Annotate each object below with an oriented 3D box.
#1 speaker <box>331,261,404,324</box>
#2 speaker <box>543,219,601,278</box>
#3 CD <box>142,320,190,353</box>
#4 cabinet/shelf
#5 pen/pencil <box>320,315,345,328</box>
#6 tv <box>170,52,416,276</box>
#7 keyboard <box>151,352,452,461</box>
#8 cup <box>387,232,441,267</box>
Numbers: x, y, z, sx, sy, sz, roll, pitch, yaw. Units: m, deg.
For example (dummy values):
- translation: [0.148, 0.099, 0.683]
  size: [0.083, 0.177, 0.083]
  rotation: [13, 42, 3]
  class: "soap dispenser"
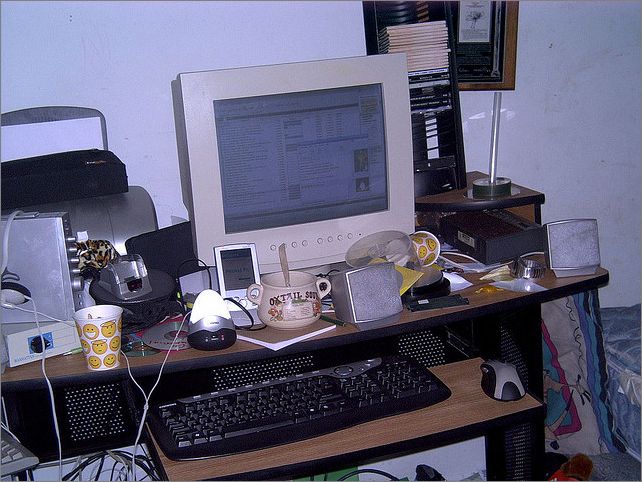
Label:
- translation: [0.114, 0.124, 1.330]
  size: [0.145, 0.149, 0.146]
  rotation: [-10, -1, -23]
  class: "speaker"
- translation: [0.657, 0.021, 1.409]
  size: [0.137, 0.142, 0.080]
  rotation: [-3, -4, -4]
  class: "speaker"
- translation: [-0.359, 0.223, 1.255]
  size: [0.134, 0.048, 0.119]
  rotation: [-7, 19, -18]
  class: "CD"
- translation: [0.492, -0.115, 1.772]
  size: [0.388, 0.151, 0.271]
  rotation: [-6, 18, -15]
  class: "cabinet/shelf"
- translation: [0.027, 0.193, 1.300]
  size: [0.104, 0.019, 0.015]
  rotation: [8, 57, 47]
  class: "pen/pencil"
- translation: [-0.066, -0.186, 1.399]
  size: [0.522, 0.477, 0.081]
  rotation: [-7, 18, -12]
  class: "tv"
- translation: [-0.040, 0.371, 1.230]
  size: [0.681, 0.090, 0.181]
  rotation: [-10, 11, -15]
  class: "keyboard"
- translation: [0.243, -0.002, 1.500]
  size: [0.123, 0.092, 0.143]
  rotation: [-13, 22, -39]
  class: "cup"
